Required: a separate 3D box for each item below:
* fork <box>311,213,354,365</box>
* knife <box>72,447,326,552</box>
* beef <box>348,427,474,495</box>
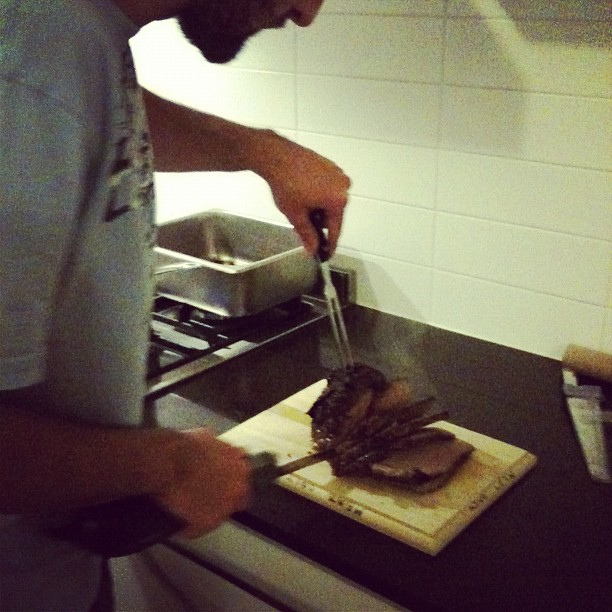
[{"bbox_3d":[0.026,-0.014,0.728,0.032,0.150,0.038,-11,24,-22],"label":"fork"},{"bbox_3d":[-0.057,0.119,0.578,0.063,0.028,0.287,14,16,37],"label":"knife"},{"bbox_3d":[0.100,0.128,0.577,0.079,0.024,0.099,0,8,44],"label":"beef"}]
